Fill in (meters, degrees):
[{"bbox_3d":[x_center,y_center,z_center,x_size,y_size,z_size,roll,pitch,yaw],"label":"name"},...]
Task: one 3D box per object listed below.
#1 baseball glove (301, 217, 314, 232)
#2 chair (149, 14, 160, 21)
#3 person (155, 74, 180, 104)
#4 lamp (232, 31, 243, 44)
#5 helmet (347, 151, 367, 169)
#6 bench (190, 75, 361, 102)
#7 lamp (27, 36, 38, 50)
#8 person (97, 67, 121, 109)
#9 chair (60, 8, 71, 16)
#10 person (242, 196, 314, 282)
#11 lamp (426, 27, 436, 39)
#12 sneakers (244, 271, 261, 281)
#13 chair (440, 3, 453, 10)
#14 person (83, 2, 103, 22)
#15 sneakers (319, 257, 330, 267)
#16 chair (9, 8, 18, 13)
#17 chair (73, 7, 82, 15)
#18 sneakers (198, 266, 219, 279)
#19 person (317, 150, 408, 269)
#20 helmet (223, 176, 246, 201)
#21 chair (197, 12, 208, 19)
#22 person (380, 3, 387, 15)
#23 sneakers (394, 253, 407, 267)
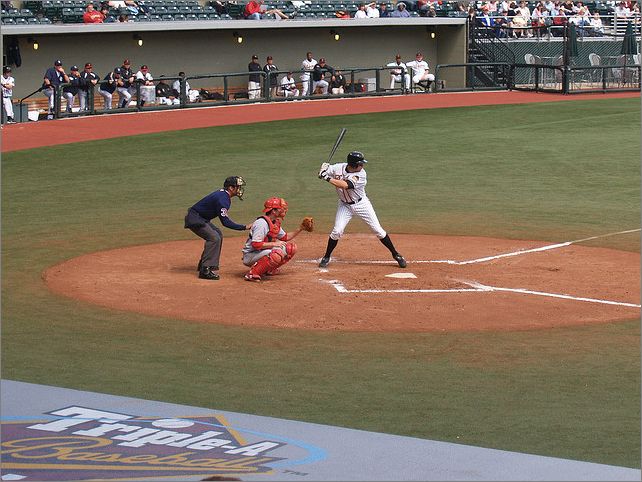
[{"bbox_3d":[-0.119,-0.217,13.450,0.185,0.154,0.269,-6,-18,-22],"label":"baseball glove"},{"bbox_3d":[-5.732,-7.758,33.003,0.344,0.276,0.601,-1,6,-9],"label":"chair"},{"bbox_3d":[-4.855,-4.675,30.207,0.819,0.748,0.335,-2,9,-15],"label":"person"},{"bbox_3d":[-3.004,-7.416,34.871,0.235,0.365,0.526,1,7,10],"label":"lamp"},{"bbox_3d":[0.460,-1.166,13.905,0.428,0.191,0.235,3,17,13],"label":"helmet"},{"bbox_3d":[-1.379,-5.199,32.532,6.566,1.168,1.002,-3,8,-32],"label":"bench"},{"bbox_3d":[-9.117,-6.238,30.164,0.340,0.385,0.496,-1,7,-7],"label":"lamp"},{"bbox_3d":[-6.386,-4.594,28.832,0.655,1.270,1.088,-2,8,-11],"label":"person"},{"bbox_3d":[-8.363,-7.552,31.502,0.346,0.308,0.325,-1,7,-11],"label":"chair"},{"bbox_3d":[-0.678,-0.008,13.337,0.751,1.156,0.451,-3,9,-20],"label":"person"},{"bbox_3d":[4.578,-8.492,39.136,0.344,0.404,0.518,0,7,4],"label":"lamp"},{"bbox_3d":[-0.967,0.494,13.293,0.232,0.183,0.119,2,8,15],"label":"sneakers"},{"bbox_3d":[5.252,-9.691,39.460,0.510,0.327,0.694,1,6,9],"label":"chair"},{"bbox_3d":[-7.434,-7.429,31.101,0.643,0.766,1.254,-2,7,-12],"label":"person"},{"bbox_3d":[0.056,0.322,14.082,0.149,0.160,0.285,0,6,1],"label":"sneakers"},{"bbox_3d":[-9.699,-7.203,30.074,0.360,0.148,0.262,-2,25,-10],"label":"chair"},{"bbox_3d":[-8.074,-7.605,31.639,0.249,0.298,0.513,-2,7,-13],"label":"chair"},{"bbox_3d":[-1.569,0.469,13.429,0.289,0.179,0.168,-1,7,-6],"label":"sneakers"},{"bbox_3d":[0.572,-0.445,14.023,1.188,1.699,0.651,0,9,0],"label":"person"},{"bbox_3d":[-1.204,-0.738,13.285,0.258,0.285,0.306,-2,7,-10],"label":"helmet"},{"bbox_3d":[-4.157,-7.949,33.728,0.337,0.289,0.721,-1,6,-7],"label":"chair"},{"bbox_3d":[2.518,-9.143,37.752,0.353,0.539,0.633,1,7,6],"label":"person"},{"bbox_3d":[1.147,0.296,14.000,0.124,0.107,0.275,38,0,-43],"label":"sneakers"}]
